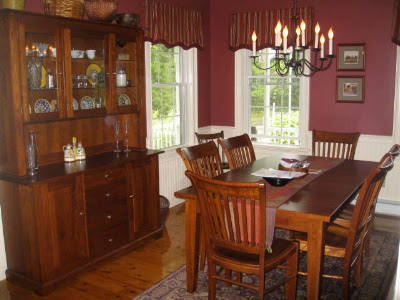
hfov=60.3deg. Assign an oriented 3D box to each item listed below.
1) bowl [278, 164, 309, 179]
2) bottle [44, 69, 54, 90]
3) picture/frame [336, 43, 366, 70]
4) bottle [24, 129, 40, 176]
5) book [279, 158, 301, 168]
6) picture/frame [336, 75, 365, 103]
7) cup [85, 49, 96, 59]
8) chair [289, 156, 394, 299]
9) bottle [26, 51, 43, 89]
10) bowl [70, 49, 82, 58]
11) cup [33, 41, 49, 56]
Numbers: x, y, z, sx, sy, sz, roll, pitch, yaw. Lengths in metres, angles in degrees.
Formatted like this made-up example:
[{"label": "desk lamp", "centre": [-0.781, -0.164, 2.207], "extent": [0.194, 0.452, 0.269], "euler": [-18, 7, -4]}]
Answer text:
[{"label": "bowl", "centre": [0.934, 0.181, 3.332], "extent": [0.191, 0.079, 0.143], "euler": [-12, 13, -23]}, {"label": "bottle", "centre": [-1.426, -0.672, 3.258], "extent": [0.023, 0.185, 0.105], "euler": [9, 17, 40]}, {"label": "picture/frame", "centre": [2.168, -1.331, 4.875], "extent": [0.465, 0.476, 0.032], "euler": [5, 10, 31]}, {"label": "bottle", "centre": [-1.567, 0.022, 3.193], "extent": [0.101, 0.366, 0.306], "euler": [-8, 14, -26]}, {"label": "book", "centre": [0.888, 0.127, 3.377], "extent": [0.108, 0.053, 0.145], "euler": [-6, 7, -42]}, {"label": "picture/frame", "centre": [2.178, -0.886, 4.939], "extent": [0.391, 0.416, 0.029], "euler": [4, 11, 28]}, {"label": "cup", "centre": [-1.145, -1.004, 3.598], "extent": [0.090, 0.067, 0.090], "euler": [1, 20, 0]}, {"label": "chair", "centre": [1.219, 0.670, 2.913], "extent": [0.613, 1.267, 0.717], "euler": [7, 15, 33]}, {"label": "bottle", "centre": [-1.513, -0.726, 3.150], "extent": [0.028, 0.341, 0.162], "euler": [4, 14, 24]}, {"label": "bowl", "centre": [-1.236, -0.973, 3.469], "extent": [0.087, 0.057, 0.085], "euler": [1, 20, 0]}, {"label": "cup", "centre": [-1.463, -0.940, 3.169], "extent": [0.112, 0.111, 0.104], "euler": [2, 18, -1]}]
